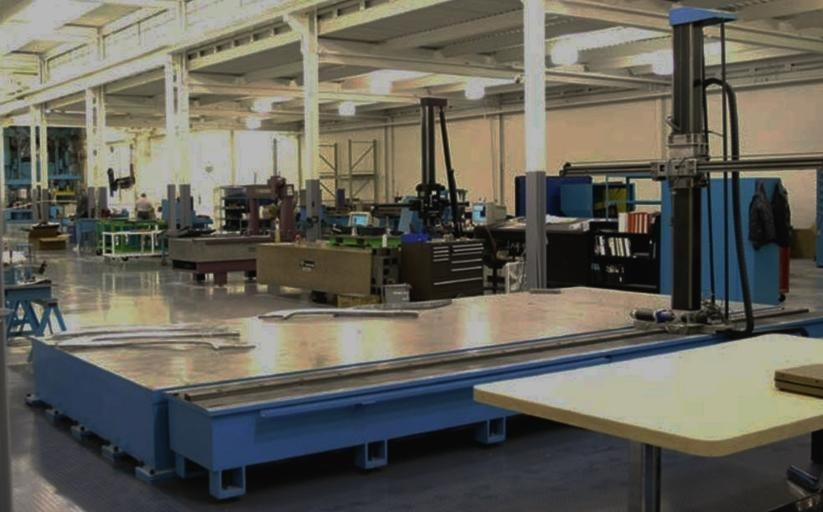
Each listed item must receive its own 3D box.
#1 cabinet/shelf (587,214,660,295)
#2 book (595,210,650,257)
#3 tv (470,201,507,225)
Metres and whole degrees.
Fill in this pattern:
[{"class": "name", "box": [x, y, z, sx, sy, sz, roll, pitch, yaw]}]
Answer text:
[{"class": "cabinet/shelf", "box": [3.339, -0.014, 10.502, 1.345, 1.361, 0.499, 1, 0, 44]}, {"class": "book", "box": [3.344, -0.316, 10.685, 0.827, 0.688, 0.364, 6, 9, 40]}, {"class": "tv", "box": [1.388, -0.829, 12.815, 0.630, 0.384, 0.442, 3, 4, 28]}]
